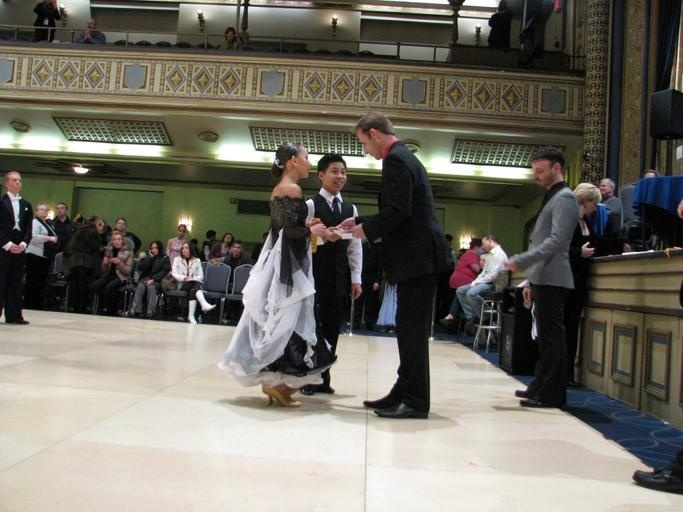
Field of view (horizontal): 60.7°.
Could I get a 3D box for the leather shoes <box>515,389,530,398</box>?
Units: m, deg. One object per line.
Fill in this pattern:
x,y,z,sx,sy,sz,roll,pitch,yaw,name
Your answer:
1.587,1.200,5.074,0.046,0.063,0.141,0,-4,-2,leather shoes

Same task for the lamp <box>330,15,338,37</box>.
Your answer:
-0.191,-6.168,15.544,0.171,0.568,0.148,2,3,-2,lamp

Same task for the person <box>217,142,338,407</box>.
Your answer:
-0.448,0.281,4.371,0.809,1.652,0.415,2,3,-1,person

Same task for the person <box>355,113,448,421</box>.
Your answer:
0.429,0.059,4.208,0.684,2.200,0.356,3,3,11,person

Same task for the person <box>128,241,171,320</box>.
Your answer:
-3.407,0.418,10.347,0.686,1.314,1.058,1,4,-17,person

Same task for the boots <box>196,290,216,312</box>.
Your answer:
-2.296,0.766,9.673,0.277,0.393,0.662,1,4,-15,boots

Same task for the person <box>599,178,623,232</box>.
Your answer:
3.394,-0.660,7.293,0.286,0.668,1.386,4,4,26,person

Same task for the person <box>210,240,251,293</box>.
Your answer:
-2.142,0.126,11.398,0.825,1.437,0.959,0,-9,-2,person

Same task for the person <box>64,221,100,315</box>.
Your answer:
-4.521,0.195,10.133,0.590,1.604,0.539,0,4,-26,person

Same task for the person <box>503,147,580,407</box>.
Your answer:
1.667,0.186,4.782,0.455,2.177,0.800,3,4,23,person

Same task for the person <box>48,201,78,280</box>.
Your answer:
-5.362,-0.244,11.121,0.478,1.658,0.486,2,27,-25,person

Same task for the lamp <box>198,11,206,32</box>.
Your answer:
-3.807,-6.386,15.746,0.214,0.471,0.177,-1,4,-40,lamp

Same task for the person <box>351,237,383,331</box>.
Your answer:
0.470,0.437,10.816,0.553,1.984,0.526,2,19,8,person

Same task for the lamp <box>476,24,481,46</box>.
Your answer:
3.617,-5.862,15.375,0.146,0.542,0.365,3,4,13,lamp

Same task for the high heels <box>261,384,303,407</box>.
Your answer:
-0.442,1.027,4.340,0.267,0.174,0.186,3,4,13,high heels
